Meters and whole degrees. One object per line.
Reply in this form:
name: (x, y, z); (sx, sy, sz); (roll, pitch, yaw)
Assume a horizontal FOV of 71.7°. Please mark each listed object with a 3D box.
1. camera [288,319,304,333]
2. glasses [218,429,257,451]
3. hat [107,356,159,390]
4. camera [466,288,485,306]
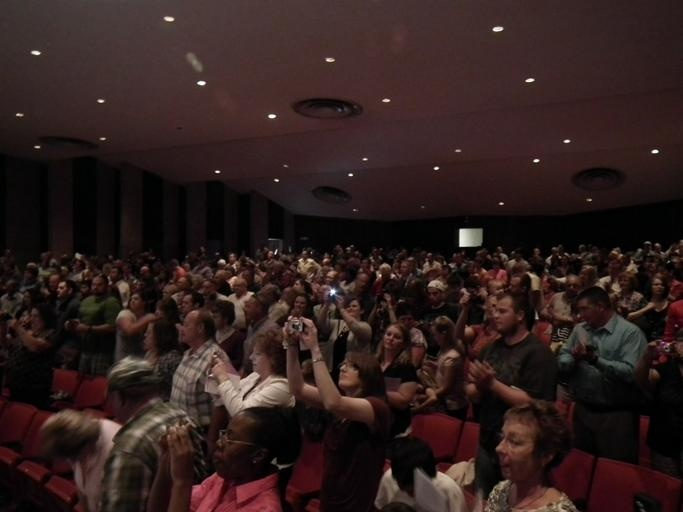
camera: (-0.278, 0.427, 2.899); (0.072, 0.080, 0.020); (1, 1, 14)
glasses: (-0.548, 0.968, 2.488); (0.127, 0.037, 0.129); (24, -9, -18)
hat: (-1.224, 0.691, 2.765); (0.284, 0.195, 0.227); (2, -1, 36)
camera: (1.586, 0.486, 5.616); (0.209, 0.085, 0.208); (3, 10, -38)
